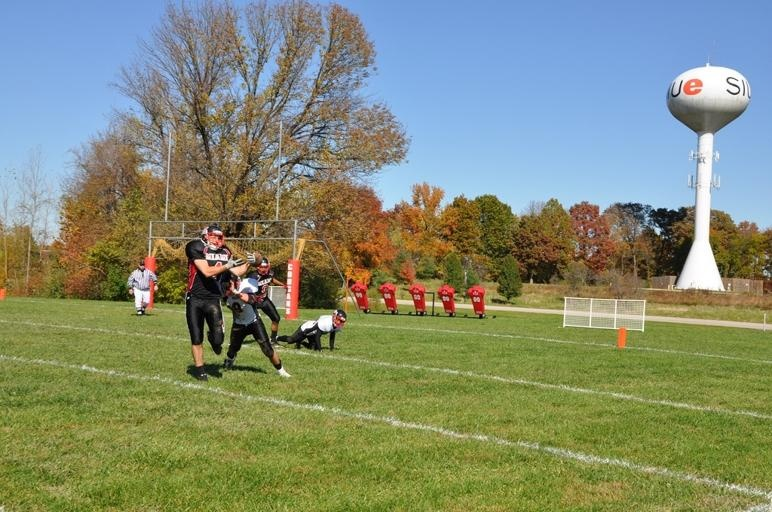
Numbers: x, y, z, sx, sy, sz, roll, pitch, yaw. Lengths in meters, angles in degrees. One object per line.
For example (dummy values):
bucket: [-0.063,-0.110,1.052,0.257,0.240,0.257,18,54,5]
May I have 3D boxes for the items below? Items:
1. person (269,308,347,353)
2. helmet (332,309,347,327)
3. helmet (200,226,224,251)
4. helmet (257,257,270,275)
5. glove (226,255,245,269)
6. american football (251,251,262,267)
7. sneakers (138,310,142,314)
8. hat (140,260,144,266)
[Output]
person: [-1.781,1.722,16.811,1.889,1.020,0.684,2,1,25]
helmet: [-1.022,1.435,16.354,0.283,0.315,0.383,11,10,-22]
helmet: [-3.136,-0.345,12.901,0.385,0.409,0.332,1,5,-17]
helmet: [-2.933,0.205,17.151,0.442,0.481,0.577,0,-7,-9]
glove: [-2.679,0.118,12.664,0.234,0.154,0.430,5,5,23]
american football: [-2.566,0.037,14.076,0.189,0.238,0.237,-1,-34,-5]
sneakers: [-8.249,1.881,23.871,0.098,0.124,0.195,1,5,-20]
hat: [-8.374,0.253,24.367,0.127,0.160,0.177,3,-39,-15]
